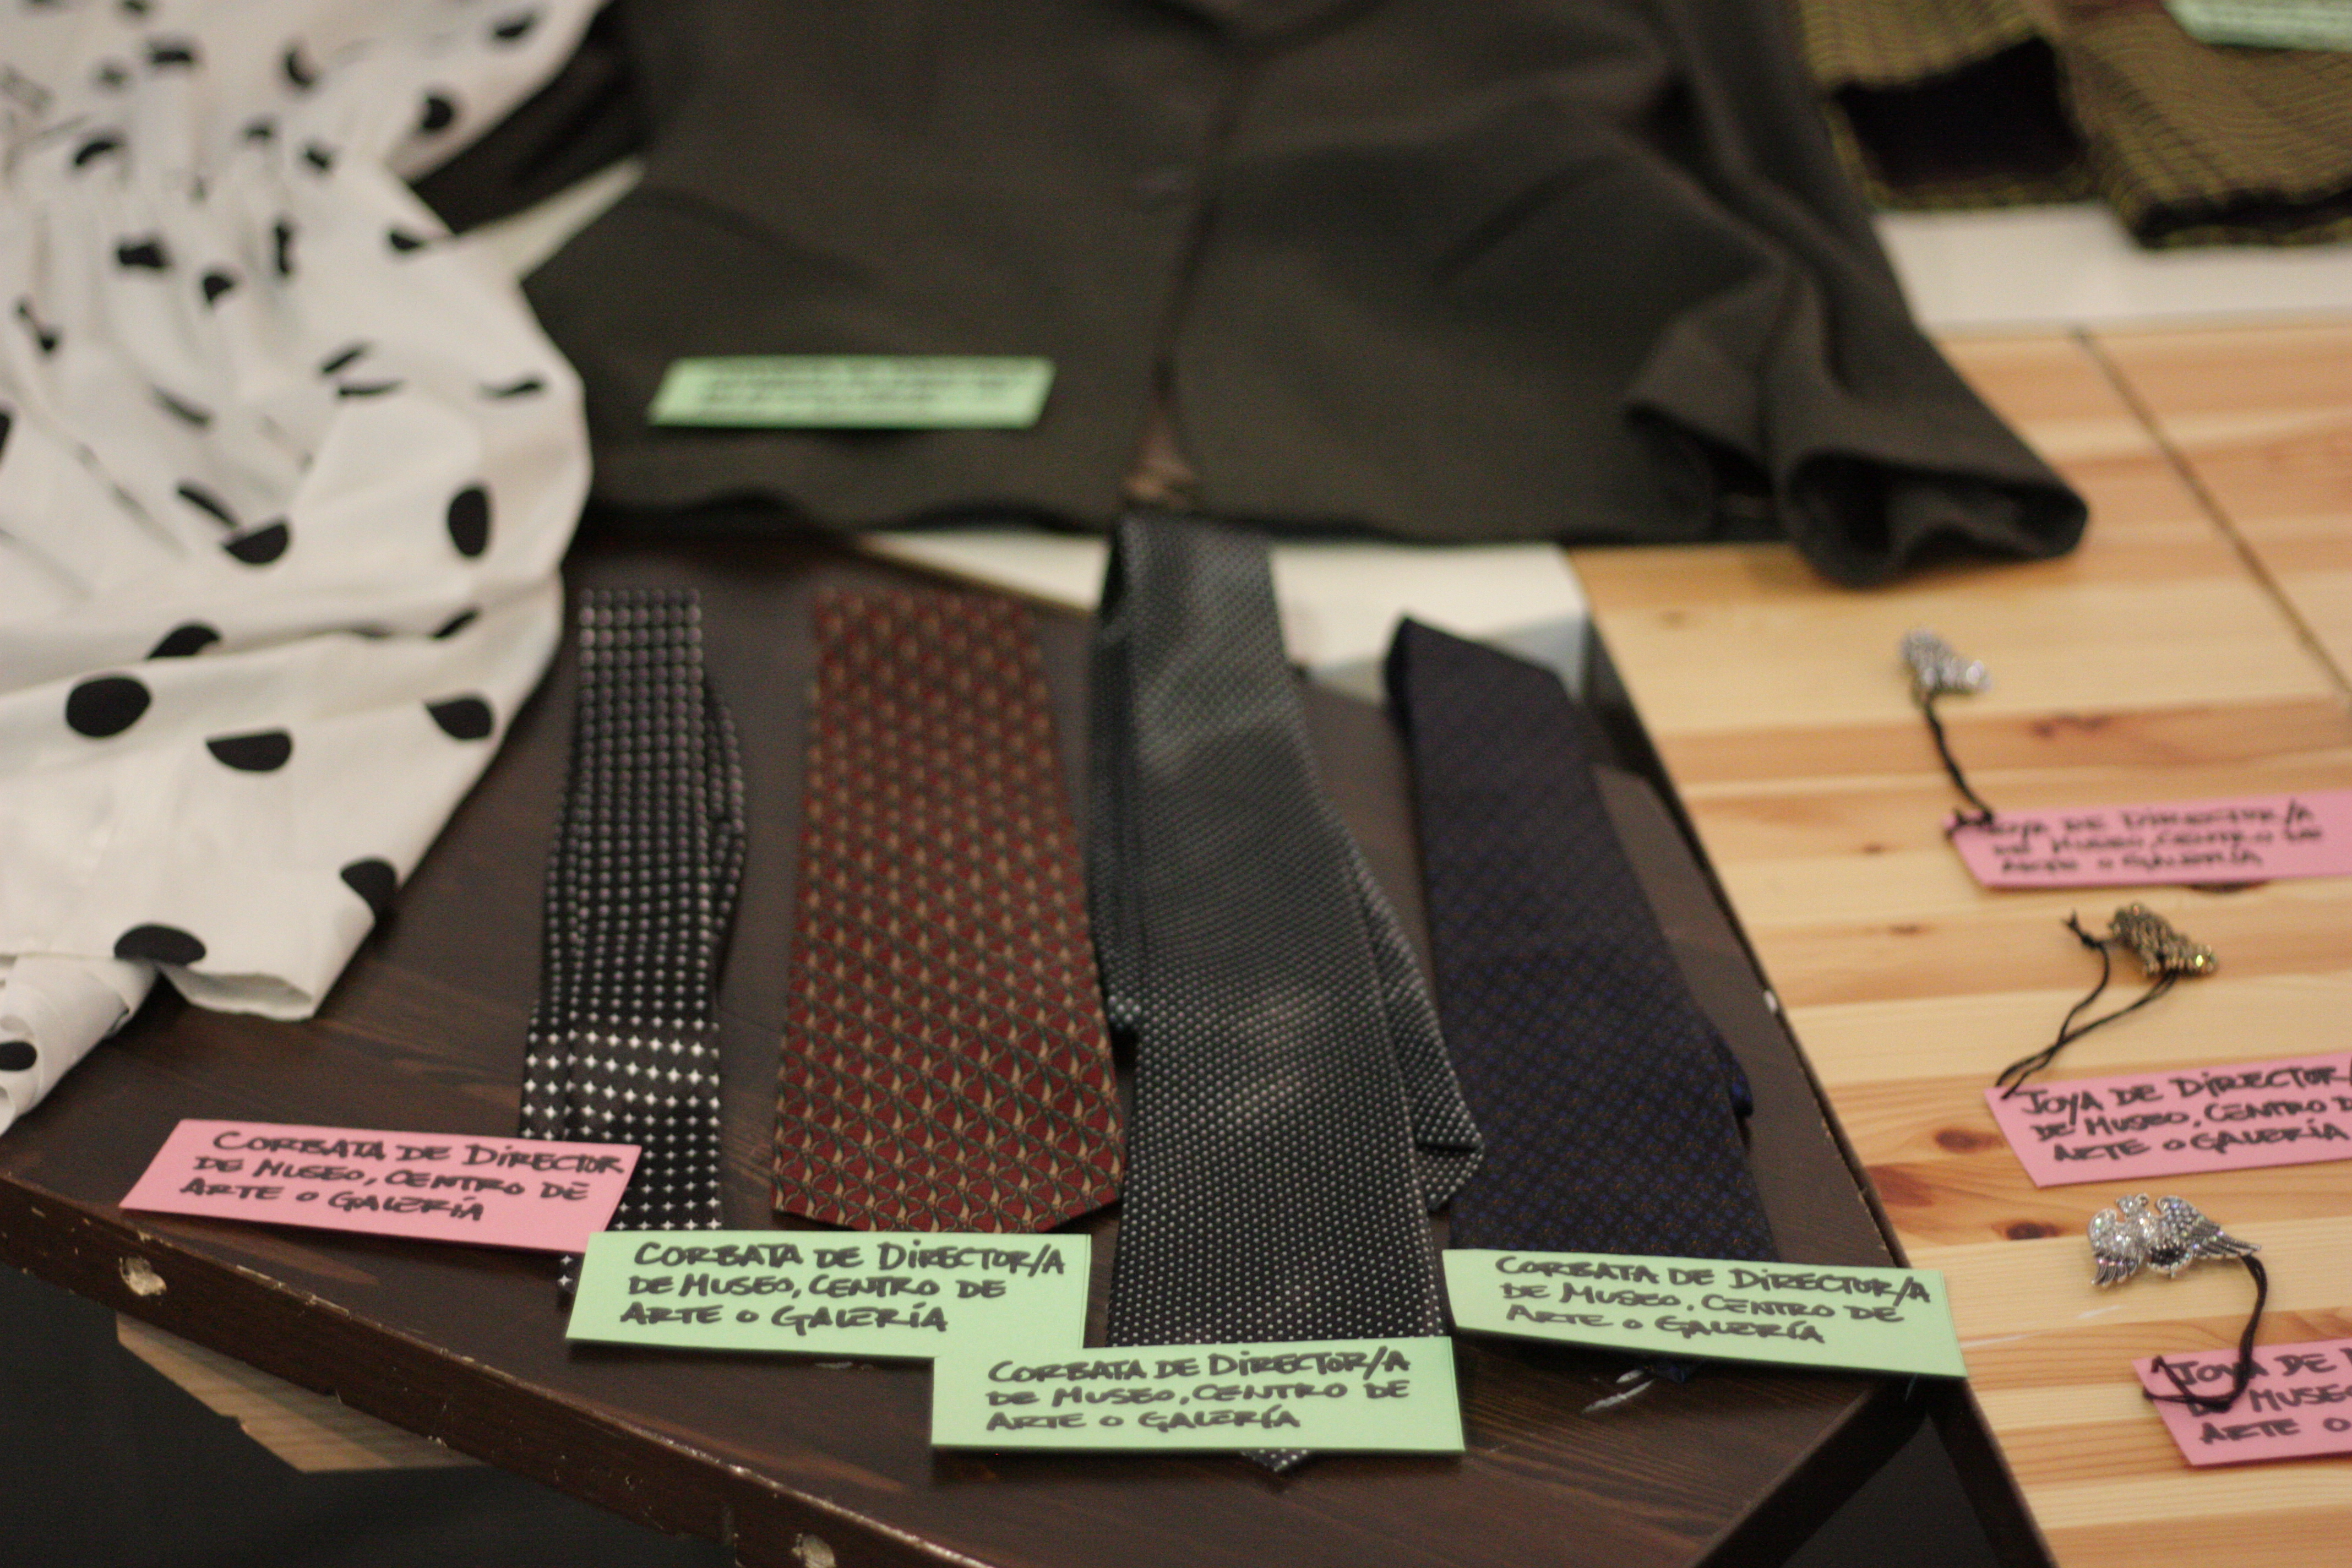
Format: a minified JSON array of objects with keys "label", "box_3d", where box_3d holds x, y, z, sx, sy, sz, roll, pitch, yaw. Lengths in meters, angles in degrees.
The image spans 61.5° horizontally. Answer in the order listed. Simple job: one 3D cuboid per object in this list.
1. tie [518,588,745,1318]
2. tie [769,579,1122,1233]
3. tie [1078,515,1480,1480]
[{"label":"tie","box_3d":[-0.331,0.066,1.247,0.120,0.023,0.411,-1,54,-6]},{"label":"tie","box_3d":[-0.147,0.065,1.228,0.167,0.012,0.397,-1,49,-4]},{"label":"tie","box_3d":[0.058,0.139,1.172,0.212,0.057,0.543,-1,50,2]}]
